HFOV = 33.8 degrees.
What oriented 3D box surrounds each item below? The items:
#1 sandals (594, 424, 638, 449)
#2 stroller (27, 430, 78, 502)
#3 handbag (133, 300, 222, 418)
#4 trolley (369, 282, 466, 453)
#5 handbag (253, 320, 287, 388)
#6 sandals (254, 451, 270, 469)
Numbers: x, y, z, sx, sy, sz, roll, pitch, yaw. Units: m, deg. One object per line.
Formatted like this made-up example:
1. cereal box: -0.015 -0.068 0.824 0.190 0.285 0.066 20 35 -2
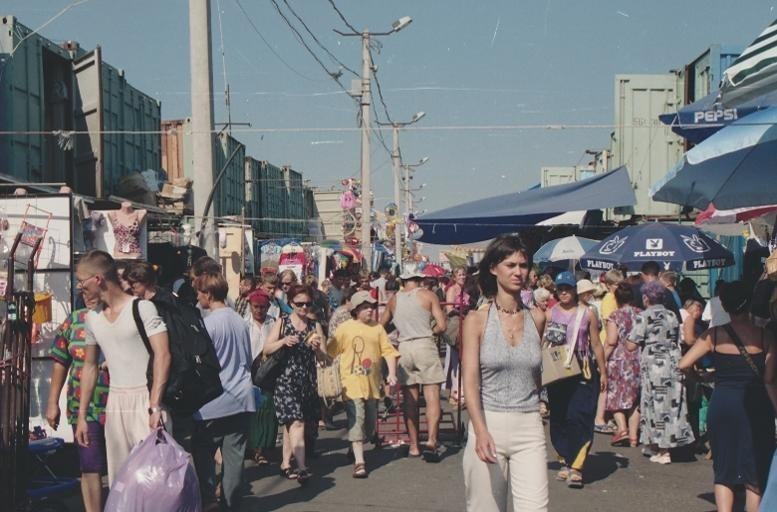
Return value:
1. sandals: 3.183 2.548 17.793 0.207 0.152 0.495 0 5 -26
2. stroller: -4.037 2.569 15.364 0.583 0.813 0.505 1 -1 -3
3. handbag: -2.260 1.158 14.498 0.702 1.297 0.458 -5 13 -20
4. trolley: 0.387 1.451 17.522 0.893 2.636 0.906 -9 -14 19
5. handbag: -1.483 1.284 16.183 0.314 0.805 0.613 30 12 -2
6. sandals: -1.679 2.756 16.934 0.127 0.135 0.352 1 -10 -16
